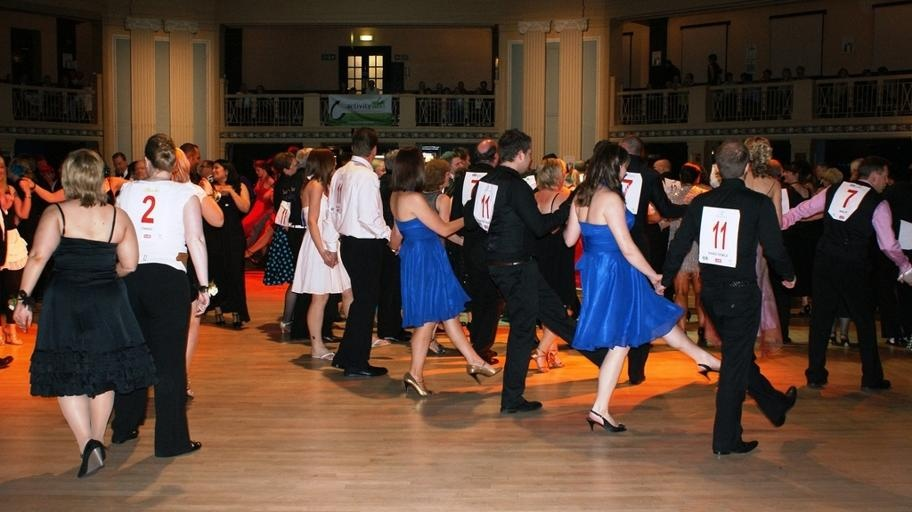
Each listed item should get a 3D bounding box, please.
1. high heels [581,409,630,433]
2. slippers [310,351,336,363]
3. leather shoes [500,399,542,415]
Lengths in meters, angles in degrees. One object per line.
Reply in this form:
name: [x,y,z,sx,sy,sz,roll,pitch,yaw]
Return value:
high heels: [1.464,1.633,7.389,0.497,0.219,0.163,-1,0,3]
slippers: [-1.651,1.240,9.246,0.312,0.079,0.142,-3,4,24]
leather shoes: [0.670,1.559,7.838,0.473,0.184,0.154,-4,4,-14]
